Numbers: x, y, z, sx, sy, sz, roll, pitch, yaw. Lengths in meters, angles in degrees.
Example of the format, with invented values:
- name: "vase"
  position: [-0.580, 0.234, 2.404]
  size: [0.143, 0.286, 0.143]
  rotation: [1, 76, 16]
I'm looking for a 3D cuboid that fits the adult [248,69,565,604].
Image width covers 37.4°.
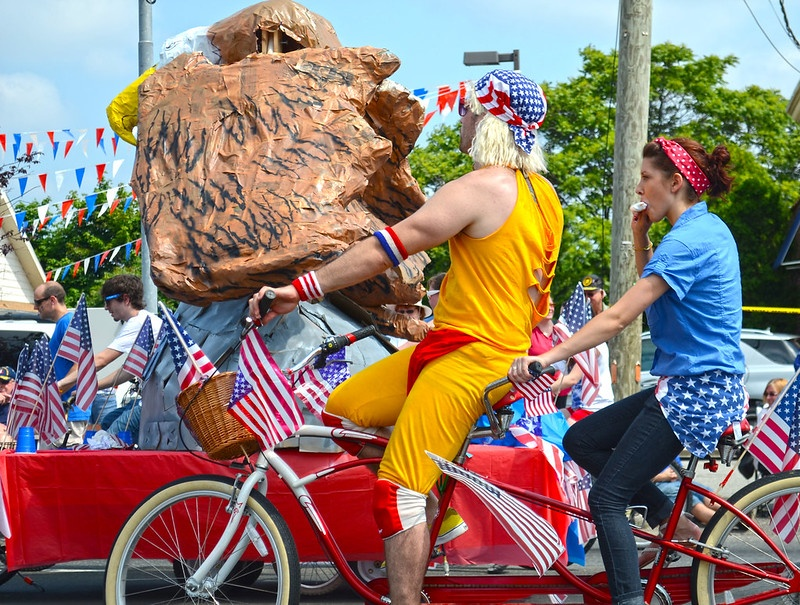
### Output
- name: "adult"
  position: [0.225, 0.163, 5.917]
  size: [1.188, 2.619, 0.508]
  rotation: [-2, 7, -29]

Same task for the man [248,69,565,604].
- name: "man"
  position: [0.222, 0.163, 5.916]
  size: [1.194, 2.619, 0.510]
  rotation: [-2, 7, -29]

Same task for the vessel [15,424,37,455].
- name: "vessel"
  position: [-2.305, 0.867, 7.397]
  size: [0.169, 0.167, 0.163]
  rotation: [2, -14, -14]
